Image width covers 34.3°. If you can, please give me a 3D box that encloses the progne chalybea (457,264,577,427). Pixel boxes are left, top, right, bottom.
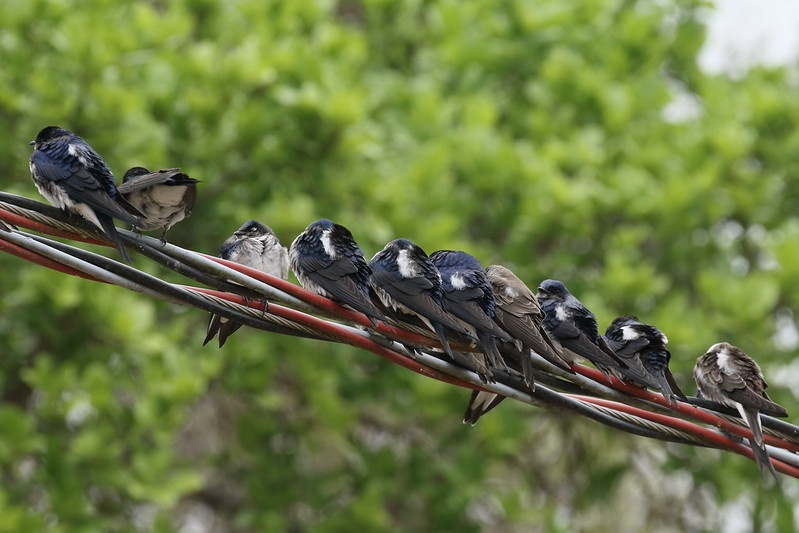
[{"bbox_3d":[0.907,0.467,10.383,0.729,1.652,0.534,-2,-11,25],"label":"progne chalybea"}]

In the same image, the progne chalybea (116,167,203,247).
[{"bbox_3d":[-1.981,-0.520,10.382,0.437,0.868,0.485,18,59,-22],"label":"progne chalybea"}]

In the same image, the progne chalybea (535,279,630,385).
[{"bbox_3d":[1.412,0.491,10.696,0.365,0.479,1.174,-13,36,-37],"label":"progne chalybea"}]

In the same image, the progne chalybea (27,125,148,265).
[{"bbox_3d":[-2.331,-0.563,10.093,1.519,0.616,0.515,30,1,35],"label":"progne chalybea"}]

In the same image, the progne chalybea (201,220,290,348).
[{"bbox_3d":[-1.258,0.179,10.801,0.605,0.989,0.860,28,28,-27],"label":"progne chalybea"}]

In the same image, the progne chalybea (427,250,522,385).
[{"bbox_3d":[0.603,0.358,10.437,0.559,0.412,1.208,-14,50,-5],"label":"progne chalybea"}]
